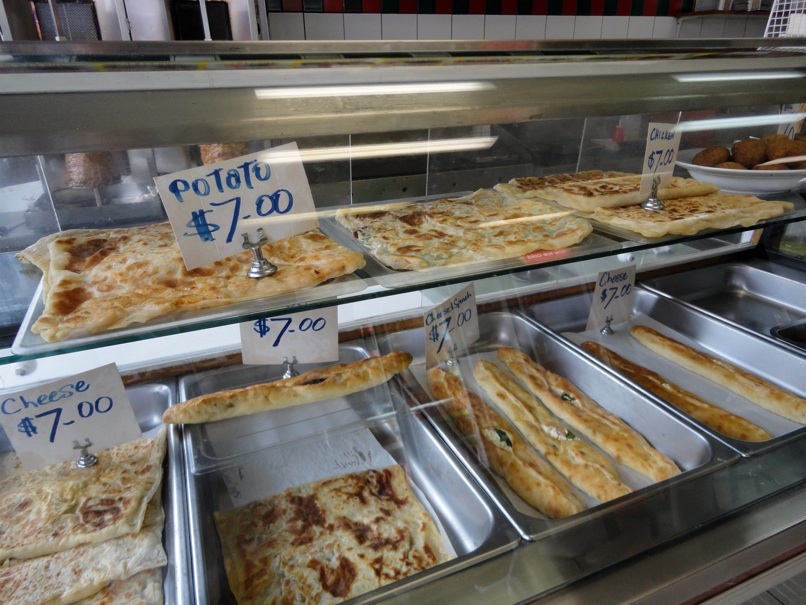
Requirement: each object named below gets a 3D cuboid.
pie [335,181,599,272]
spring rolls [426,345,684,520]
[{"bbox_3d":[0.108,-0.208,1.272,0.637,0.178,0.576,-9,14,-34],"label":"pie"},{"bbox_3d":[0.349,0.260,1.195,0.436,0.239,0.515,-16,30,-27],"label":"spring rolls"}]
